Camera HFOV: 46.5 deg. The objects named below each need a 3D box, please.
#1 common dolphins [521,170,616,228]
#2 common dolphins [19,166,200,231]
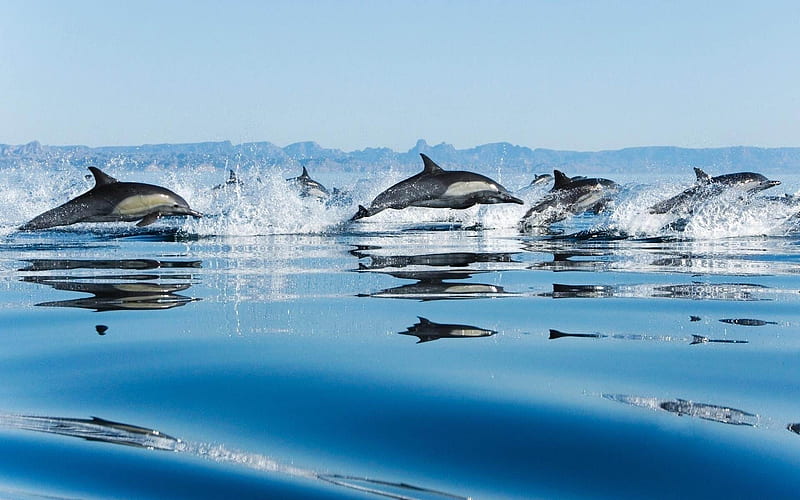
[{"bbox_3d":[4.540,-1.343,24.932,2.417,1.530,0.878,1,12,5],"label":"common dolphins"},{"bbox_3d":[-6.346,-1.145,19.836,3.055,1.440,1.389,2,12,11],"label":"common dolphins"}]
